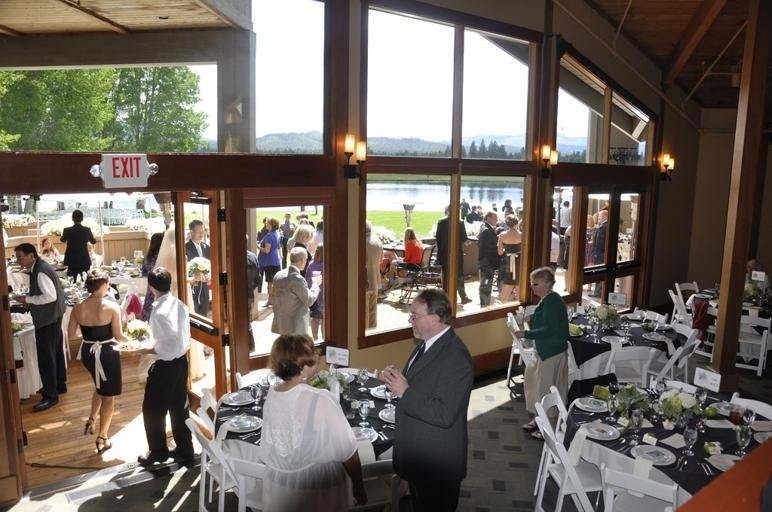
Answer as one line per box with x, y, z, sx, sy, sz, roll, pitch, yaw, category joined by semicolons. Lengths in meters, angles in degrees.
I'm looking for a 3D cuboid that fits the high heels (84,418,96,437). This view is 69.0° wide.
-3.988;2.292;7.558;0.141;0.147;0.275;6;-7;-12;high heels

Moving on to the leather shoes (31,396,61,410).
-4.937;2.135;8.181;0.121;0.134;0.304;10;3;32;leather shoes

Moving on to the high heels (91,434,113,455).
-3.651;2.429;7.242;0.134;0.116;0.249;2;9;-6;high heels

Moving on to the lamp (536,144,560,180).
2.847;-1.655;9.842;0.395;0.596;0.114;-5;6;-36;lamp

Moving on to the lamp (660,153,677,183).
6.161;-1.937;12.291;0.648;0.687;0.215;0;3;-32;lamp

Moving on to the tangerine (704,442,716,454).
3.280;1.941;5.710;0.101;0.077;0.101;0;-2;-38;tangerine

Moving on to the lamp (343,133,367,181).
-0.423;-1.381;7.792;0.326;0.607;0.140;-5;5;-34;lamp
